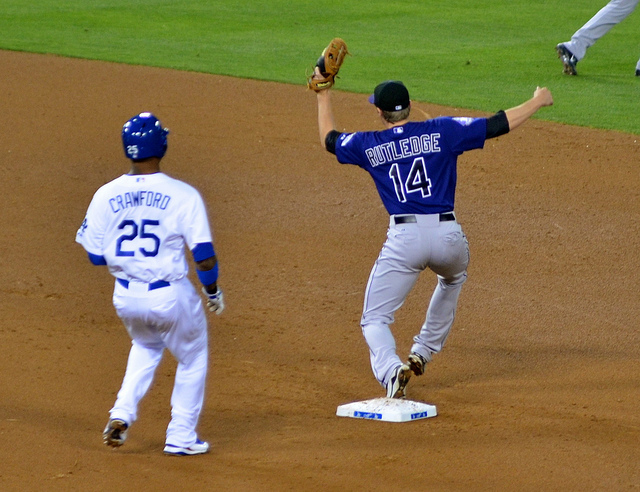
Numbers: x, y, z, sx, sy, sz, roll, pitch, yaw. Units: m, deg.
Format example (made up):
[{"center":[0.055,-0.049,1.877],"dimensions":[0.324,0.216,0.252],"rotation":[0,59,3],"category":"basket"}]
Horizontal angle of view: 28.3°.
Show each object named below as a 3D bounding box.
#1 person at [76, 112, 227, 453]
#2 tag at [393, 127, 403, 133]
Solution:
[{"center":[-1.596,0.440,12.397],"dimensions":[1.123,3.156,1.508],"rotation":[-16,32,-39],"category":"person"},{"center":[0.796,-1.155,12.680],"dimensions":[0.069,0.062,0.018],"rotation":[-4,-17,8],"category":"tag"}]
